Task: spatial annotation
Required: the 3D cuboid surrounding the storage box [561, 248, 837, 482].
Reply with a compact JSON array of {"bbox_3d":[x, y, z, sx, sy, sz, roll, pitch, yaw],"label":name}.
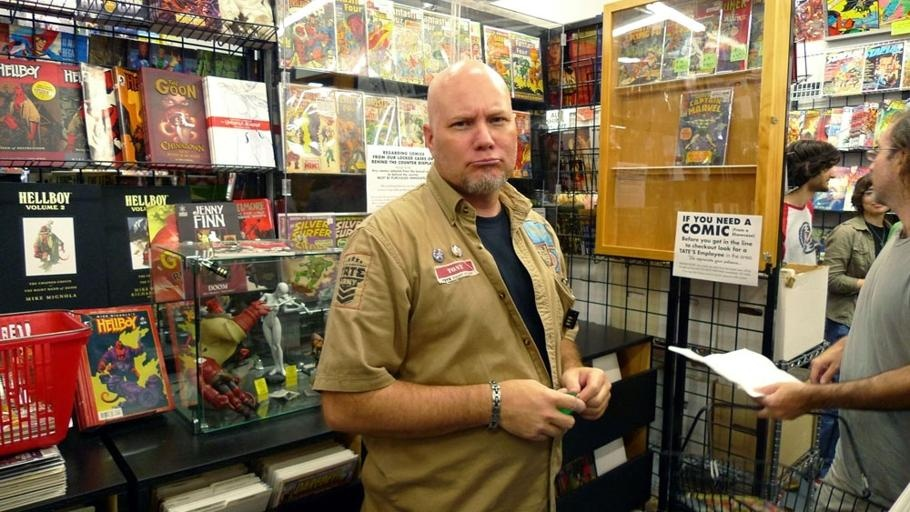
[{"bbox_3d":[1.517,0.703,3.750,1.630,1.511,0.538,5,8,41],"label":"storage box"}]
